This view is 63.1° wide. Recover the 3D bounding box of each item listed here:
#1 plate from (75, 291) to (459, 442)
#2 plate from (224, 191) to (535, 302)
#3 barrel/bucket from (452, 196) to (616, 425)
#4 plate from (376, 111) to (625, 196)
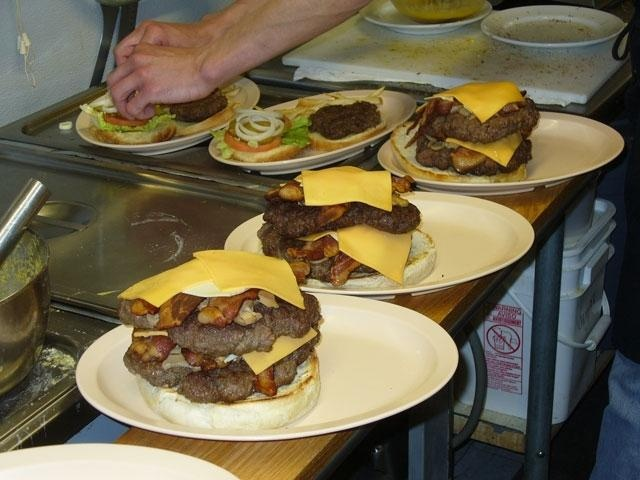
[{"bbox_3d":[-0.017,0.184,0.696,0.279,0.020,0.259,-7,18,-22],"label":"plate"},{"bbox_3d":[0.210,-0.006,1.027,0.317,0.041,0.309,10,24,31],"label":"plate"},{"bbox_3d":[0.925,0.260,2.286,0.649,0.729,0.713,-6,12,1],"label":"barrel/bucket"},{"bbox_3d":[0.474,-0.210,1.325,0.403,0.054,0.338,11,33,31],"label":"plate"}]
